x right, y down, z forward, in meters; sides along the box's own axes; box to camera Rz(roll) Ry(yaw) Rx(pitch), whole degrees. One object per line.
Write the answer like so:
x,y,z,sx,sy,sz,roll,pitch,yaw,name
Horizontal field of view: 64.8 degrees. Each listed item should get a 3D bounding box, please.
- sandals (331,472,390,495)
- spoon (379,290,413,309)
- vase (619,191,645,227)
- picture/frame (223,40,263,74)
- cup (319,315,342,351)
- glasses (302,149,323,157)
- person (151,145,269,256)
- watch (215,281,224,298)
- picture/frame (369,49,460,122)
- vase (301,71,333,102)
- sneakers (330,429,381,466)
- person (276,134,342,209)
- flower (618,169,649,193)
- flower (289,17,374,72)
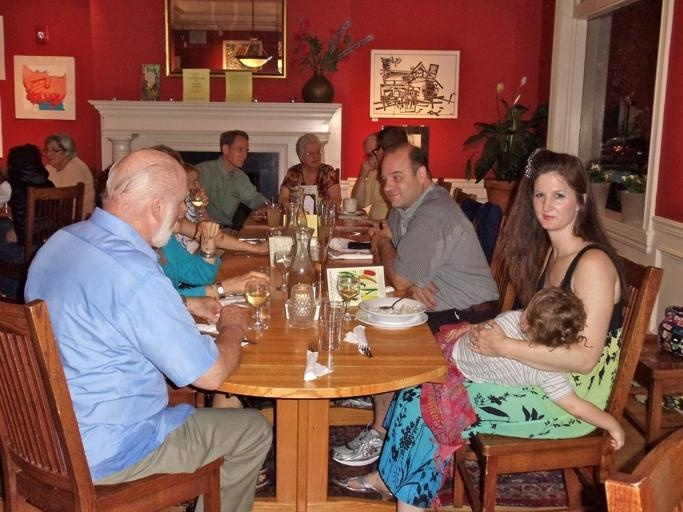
0.093,0.996,2.337,0.221,0.067,0.087,6,13,-4,sandals
0.232,0.183,2.221,0.057,0.045,0.301,24,16,21,spoon
2.149,-0.360,3.981,0.210,0.233,0.218,-2,2,2,vase
-1.127,-2.288,6.130,0.440,0.432,0.033,-1,6,-2,picture/frame
-0.037,0.247,1.792,0.073,0.108,0.131,-1,10,-2,cup
-0.275,-0.952,4.993,0.165,0.067,0.087,-5,11,-22,glasses
-1.030,-0.660,4.965,0.787,0.971,0.602,7,7,-18,person
-0.517,0.145,2.299,0.040,0.061,0.059,-4,49,-25,watch
0.835,-2.006,6.200,0.798,0.576,0.014,0,13,-2,picture/frame
-0.263,-1.871,5.915,0.322,0.312,0.321,-2,22,-5,vase
0.036,0.929,2.580,0.298,0.141,0.116,-9,30,-12,sneakers
-0.340,-0.744,5.144,0.596,0.769,0.515,-5,19,-20,person
2.178,-0.560,4.012,0.158,0.114,0.159,-1,11,-1,flower
-0.135,-2.333,6.149,0.714,0.487,0.715,12,8,-4,flower
